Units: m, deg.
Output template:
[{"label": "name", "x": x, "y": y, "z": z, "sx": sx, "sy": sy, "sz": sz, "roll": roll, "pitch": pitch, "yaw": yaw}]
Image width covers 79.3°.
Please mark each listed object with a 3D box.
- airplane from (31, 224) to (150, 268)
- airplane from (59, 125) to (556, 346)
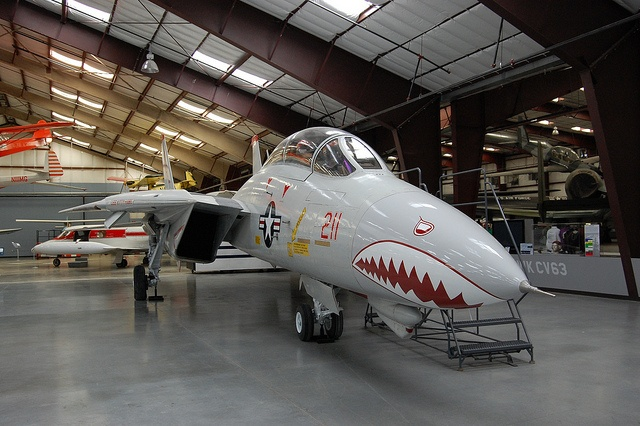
[{"label": "airplane", "x": -13.336, "y": 1.757, "z": 23.247, "sx": 5.422, "sy": 2.433, "sz": 5.081, "roll": 0, "pitch": -2, "yaw": 2}, {"label": "airplane", "x": -0.200, "y": 0.107, "z": 6.558, "sx": 5.374, "sy": 1.905, "sz": 5.886, "roll": 12, "pitch": 3, "yaw": -29}]
